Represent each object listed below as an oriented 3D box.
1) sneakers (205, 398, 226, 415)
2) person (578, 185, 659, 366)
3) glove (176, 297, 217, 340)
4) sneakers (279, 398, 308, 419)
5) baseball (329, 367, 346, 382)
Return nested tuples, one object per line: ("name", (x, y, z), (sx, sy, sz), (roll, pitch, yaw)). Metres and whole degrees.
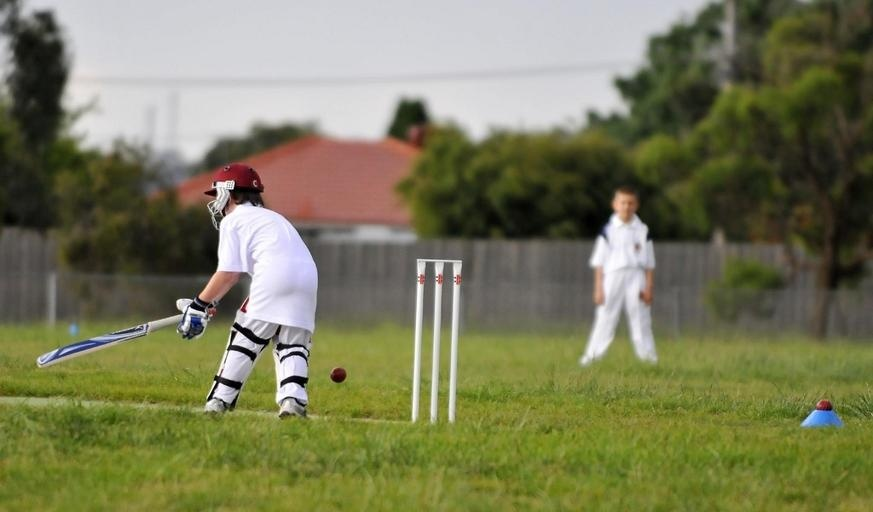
("sneakers", (-3.274, 2.221, 23.490), (0.204, 0.246, 0.260), (17, 7, -35))
("person", (3.013, 0.341, 25.875), (1.130, 2.836, 0.803), (-1, -3, 8))
("glove", (-3.629, 0.933, 23.660), (0.507, 0.579, 0.660), (1, -4, -25))
("sneakers", (-2.143, 2.241, 23.452), (0.389, 0.277, 0.217), (1, -4, -15))
("baseball", (-1.519, 1.821, 24.336), (0.221, 0.224, 0.224), (10, -39, 8))
